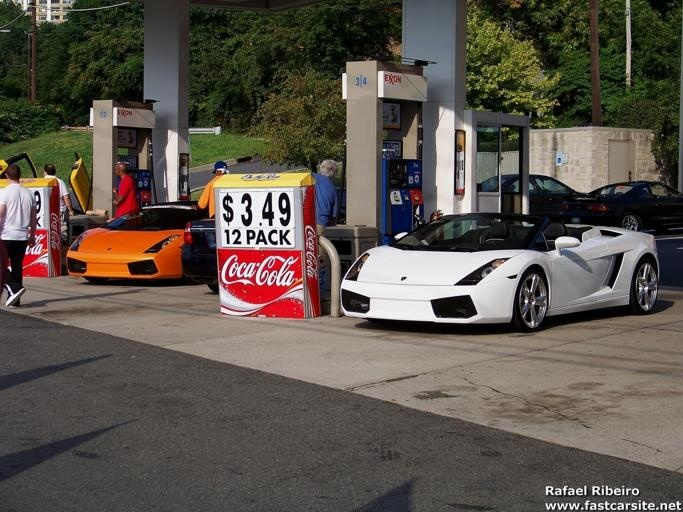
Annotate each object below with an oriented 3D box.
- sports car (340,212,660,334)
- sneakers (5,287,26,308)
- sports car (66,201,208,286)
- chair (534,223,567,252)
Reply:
[{"bbox_3d":[2.252,0.200,8.977,2.939,1.006,1.905,-1,0,-42],"label":"sports car"},{"bbox_3d":[-5.062,0.639,10.601,0.235,0.291,0.397,-2,5,-32],"label":"sneakers"},{"bbox_3d":[-3.873,-0.196,13.011,1.390,0.843,2.543,0,3,20],"label":"sports car"},{"bbox_3d":[2.779,-0.247,9.198,0.334,0.523,0.484,4,2,-11],"label":"chair"}]
